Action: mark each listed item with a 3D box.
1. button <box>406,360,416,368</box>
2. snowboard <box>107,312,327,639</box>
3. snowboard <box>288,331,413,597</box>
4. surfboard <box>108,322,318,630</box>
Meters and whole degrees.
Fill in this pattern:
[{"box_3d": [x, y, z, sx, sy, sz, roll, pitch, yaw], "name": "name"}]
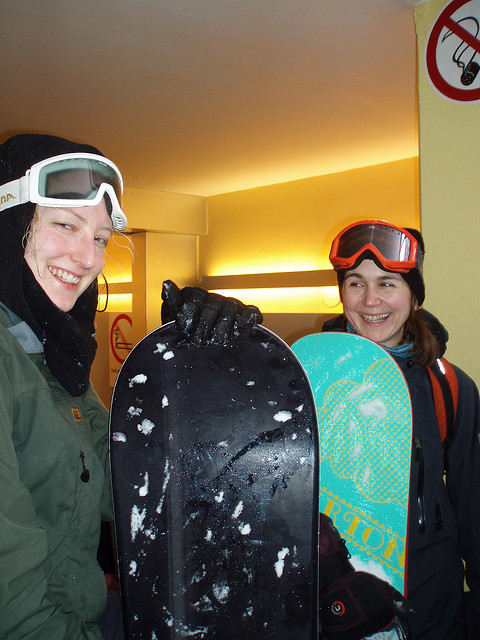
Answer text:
[{"box_3d": [0.452, 0.116, 1.387, 0.022, 0.015, 0.007, -14, 6, 18], "name": "button"}, {"box_3d": [-0.039, 0.350, 1.139, 0.370, 0.848, 0.127, -1, -13, 6], "name": "snowboard"}, {"box_3d": [0.244, 0.338, 1.317, 0.297, 0.564, 0.268, 0, 8, -1], "name": "snowboard"}, {"box_3d": [-0.059, 0.407, 1.205, 0.413, 0.957, 0.112, -6, 23, -13], "name": "surfboard"}]
